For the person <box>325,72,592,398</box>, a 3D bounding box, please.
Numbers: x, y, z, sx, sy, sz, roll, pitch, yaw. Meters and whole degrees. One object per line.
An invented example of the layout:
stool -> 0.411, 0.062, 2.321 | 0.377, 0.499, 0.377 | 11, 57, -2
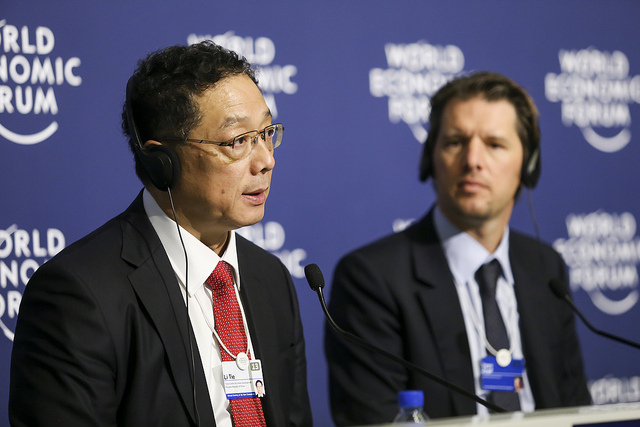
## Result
person -> 0.673, 0.277, 4.176 | 1.003, 2.110, 0.927 | -2, 6, -5

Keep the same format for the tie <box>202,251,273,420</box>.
tie -> -0.370, 0.574, 3.436 | 0.193, 0.928, 0.097 | -6, -13, -27

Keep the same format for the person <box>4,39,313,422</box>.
person -> -0.636, 0.283, 3.414 | 0.903, 2.018, 1.175 | 3, 28, 5

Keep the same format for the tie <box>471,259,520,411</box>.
tie -> 0.867, 0.573, 3.777 | 0.201, 0.711, 0.158 | -4, -6, -8
